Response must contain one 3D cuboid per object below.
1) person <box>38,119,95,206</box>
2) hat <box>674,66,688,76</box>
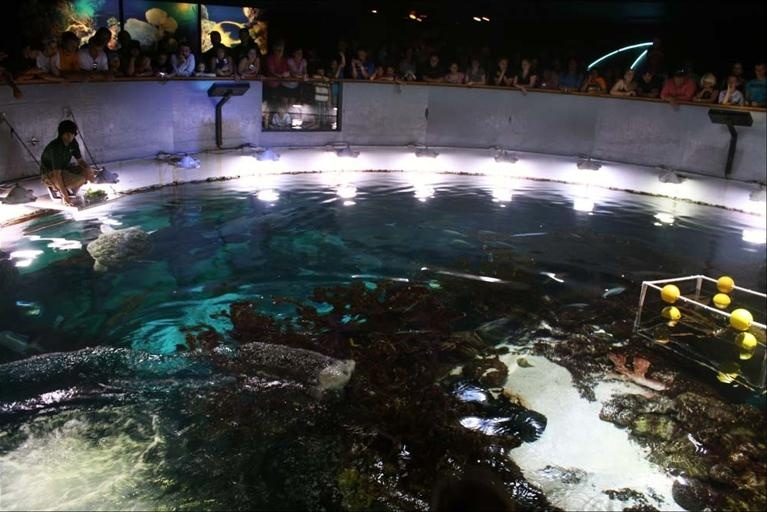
[{"bbox_3d":[-8.166,-2.377,11.433,1.030,2.080,1.004,-11,22,-26],"label":"person"},{"bbox_3d":[10.356,-6.458,15.590,0.385,0.341,0.934,10,21,30],"label":"hat"}]
